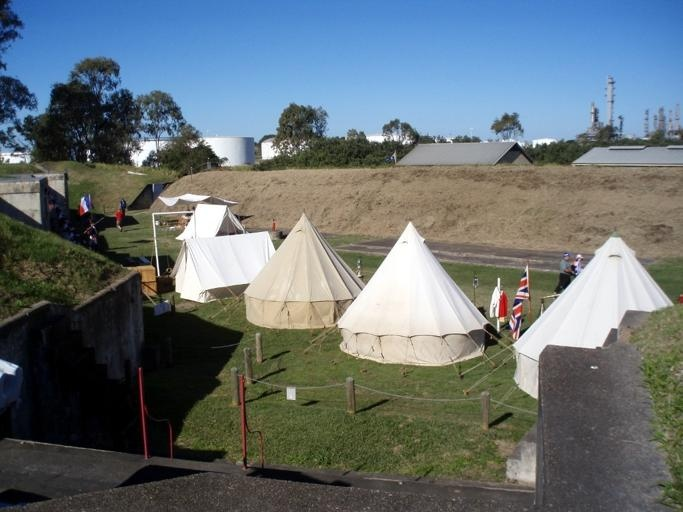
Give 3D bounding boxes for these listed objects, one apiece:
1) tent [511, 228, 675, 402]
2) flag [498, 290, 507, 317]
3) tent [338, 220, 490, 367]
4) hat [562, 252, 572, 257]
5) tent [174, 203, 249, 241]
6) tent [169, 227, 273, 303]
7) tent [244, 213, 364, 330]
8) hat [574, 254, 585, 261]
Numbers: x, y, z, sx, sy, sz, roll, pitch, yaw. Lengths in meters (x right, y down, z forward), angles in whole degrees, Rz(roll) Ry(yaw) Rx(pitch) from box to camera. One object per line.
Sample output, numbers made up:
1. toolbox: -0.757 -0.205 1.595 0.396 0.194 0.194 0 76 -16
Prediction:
1. tent: 6.677 1.460 22.613 3.771 2.992 3.812 1 6 11
2. flag: 5.011 1.507 26.061 0.213 0.831 0.415 3 6 30
3. tent: 2.258 0.954 26.262 4.389 3.857 4.972 2 4 22
4. hat: 9.017 -0.047 33.497 0.246 0.144 0.363 -5 -1 27
5. tent: -6.727 -1.618 41.570 2.222 1.129 2.355 4 16 27
6. tent: -4.476 0.301 32.845 3.990 2.390 2.907 -8 9 -38
7. tent: -1.491 0.318 28.656 3.489 3.026 3.633 -1 10 -1
8. hat: 9.375 0.065 32.976 0.287 0.129 0.402 -5 1 1
